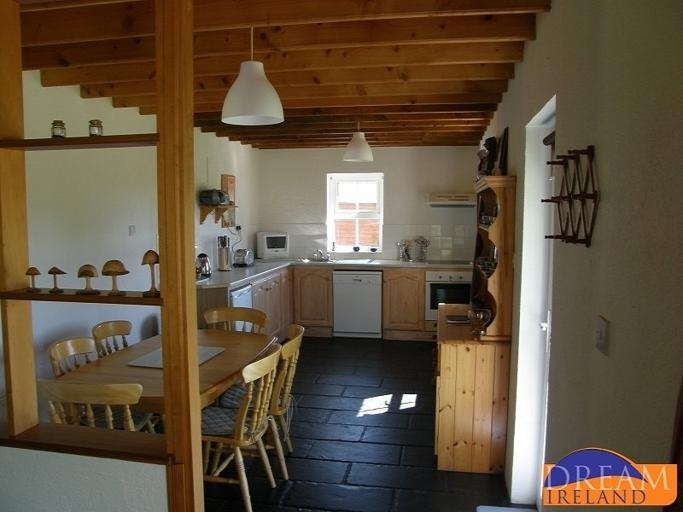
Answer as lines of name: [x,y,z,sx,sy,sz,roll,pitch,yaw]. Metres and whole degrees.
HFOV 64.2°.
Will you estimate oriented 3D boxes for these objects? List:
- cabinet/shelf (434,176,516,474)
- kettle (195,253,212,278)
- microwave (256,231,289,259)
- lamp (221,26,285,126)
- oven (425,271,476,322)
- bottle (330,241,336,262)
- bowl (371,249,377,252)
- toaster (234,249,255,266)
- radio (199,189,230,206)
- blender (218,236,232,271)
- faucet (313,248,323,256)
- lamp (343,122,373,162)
cabinet/shelf: [0.949,0.444,3.986,0.496,2.032,0.818,2,8,10]
kettle: [-1.490,0.102,5.862,0.138,0.240,0.230,-2,8,-13]
microwave: [-0.928,-0.144,7.491,0.454,0.437,0.332,0,0,-37]
lamp: [-0.533,-1.085,3.267,0.389,0.577,0.399,-2,3,6]
oven: [1.357,0.470,6.941,0.595,0.698,0.445,1,16,7]
bottle: [-0.133,-0.078,7.734,0.076,0.243,0.134,0,8,-1]
bowl: [0.440,-0.074,7.624,0.047,0.034,0.048,0,-2,0]
toaster: [-1.230,0.017,6.782,0.209,0.185,0.201,2,5,24]
radio: [-1.454,-0.654,6.137,0.202,0.148,0.252,3,3,10]
blender: [-1.426,-0.048,6.588,0.165,0.394,0.496,-1,8,-11]
faucet: [-0.330,-0.051,7.644,0.142,0.092,0.239,0,8,-4]
lamp: [0.155,-1.137,5.169,0.289,0.497,0.257,-10,22,-26]
